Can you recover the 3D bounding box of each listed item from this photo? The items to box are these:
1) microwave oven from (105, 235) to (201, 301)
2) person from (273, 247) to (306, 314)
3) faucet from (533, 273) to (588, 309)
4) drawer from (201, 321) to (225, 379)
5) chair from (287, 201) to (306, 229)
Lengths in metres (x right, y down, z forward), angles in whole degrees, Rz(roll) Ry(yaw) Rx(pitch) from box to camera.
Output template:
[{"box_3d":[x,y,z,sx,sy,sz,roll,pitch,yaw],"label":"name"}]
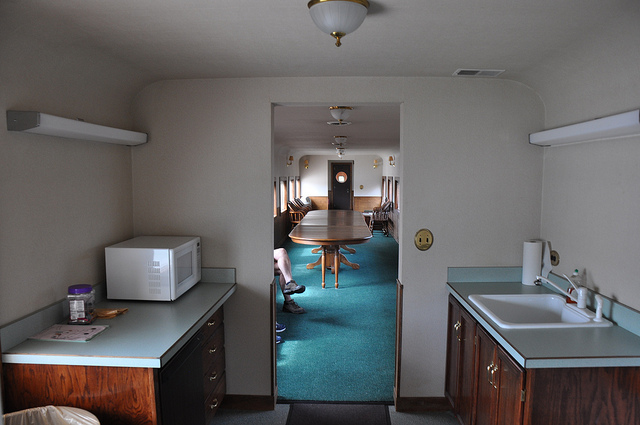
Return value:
[{"box_3d":[-1.509,0.457,4.231,0.607,0.548,0.669,3,4,-3],"label":"microwave oven"},{"box_3d":[-0.462,1.021,7.015,0.459,0.933,0.830,1,13,-5],"label":"person"},{"box_3d":[2.071,0.609,3.930,0.087,0.227,0.506,-5,16,-22],"label":"faucet"},{"box_3d":[-0.959,1.268,4.215,0.252,0.282,0.456,-1,11,0],"label":"drawer"},{"box_3d":[-0.788,0.012,14.247,0.659,0.925,0.684,-2,4,2],"label":"chair"}]
